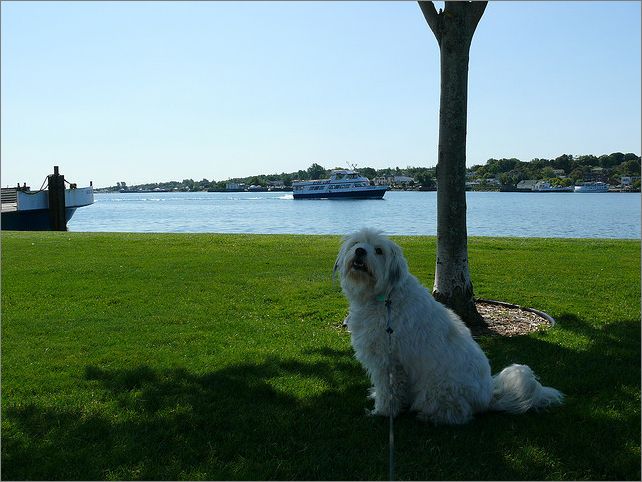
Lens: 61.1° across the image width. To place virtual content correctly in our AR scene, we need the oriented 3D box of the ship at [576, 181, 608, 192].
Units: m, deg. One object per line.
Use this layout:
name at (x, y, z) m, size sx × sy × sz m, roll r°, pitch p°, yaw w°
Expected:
ship at (75.791, -14.741, 152.144) m, size 8.508 × 2.552 × 6.911 m, roll -1°, pitch 9°, yaw -8°

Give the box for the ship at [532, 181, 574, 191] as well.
ship at (70.735, -16.722, 167.333) m, size 11.306 × 2.783 × 14.786 m, roll 0°, pitch 9°, yaw 2°
